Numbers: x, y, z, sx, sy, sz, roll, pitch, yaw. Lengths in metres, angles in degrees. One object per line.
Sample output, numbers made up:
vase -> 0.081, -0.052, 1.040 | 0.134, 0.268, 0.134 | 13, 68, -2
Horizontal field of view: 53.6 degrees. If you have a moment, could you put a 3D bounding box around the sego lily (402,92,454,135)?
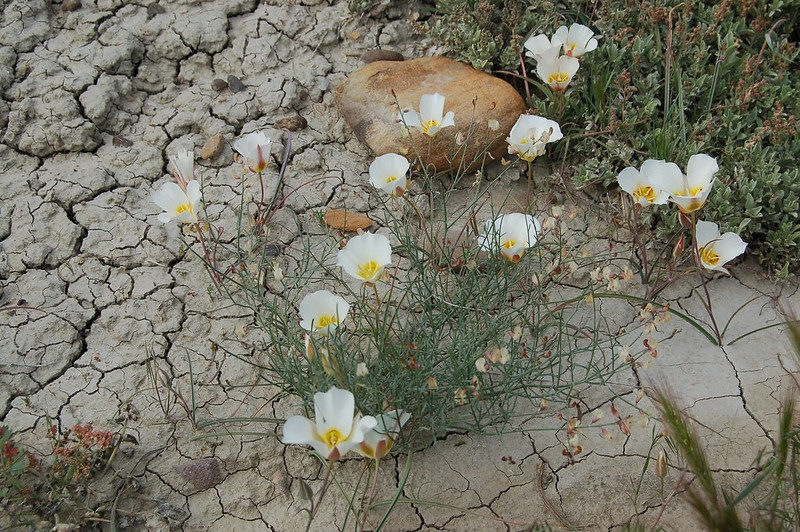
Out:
sego lily -> 0.191, -0.927, 5.337 | 0.296, 0.174, 0.329 | -26, 51, -8

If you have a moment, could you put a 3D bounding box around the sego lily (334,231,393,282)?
sego lily -> -0.207, -0.001, 4.873 | 0.327, 0.381, 0.254 | -17, 70, 19

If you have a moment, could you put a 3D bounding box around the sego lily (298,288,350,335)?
sego lily -> -0.442, 0.310, 4.706 | 0.313, 0.180, 0.360 | 0, 20, -16

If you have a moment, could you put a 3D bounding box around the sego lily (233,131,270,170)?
sego lily -> -0.980, -0.709, 5.340 | 0.225, 0.220, 0.230 | -9, 97, 7

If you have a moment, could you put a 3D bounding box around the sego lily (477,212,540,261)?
sego lily -> 0.689, -0.173, 4.986 | 0.279, 0.161, 0.353 | -10, 50, 3
